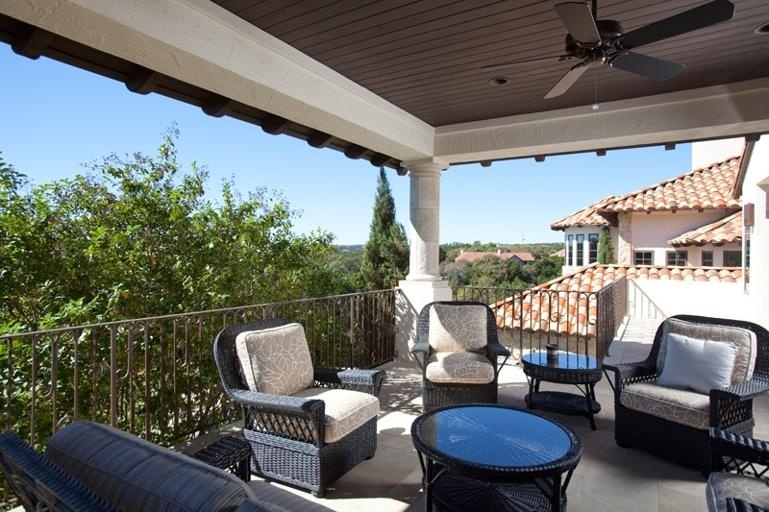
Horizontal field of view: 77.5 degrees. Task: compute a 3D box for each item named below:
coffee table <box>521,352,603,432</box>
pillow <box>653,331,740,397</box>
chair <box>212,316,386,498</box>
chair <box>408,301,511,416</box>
[{"bbox_3d":[1.915,1.353,5.106,0.844,0.563,0.794,-2,-8,37],"label":"coffee table"},{"bbox_3d":[2.894,0.996,4.383,0.567,0.513,0.209,0,-29,48],"label":"pillow"},{"bbox_3d":[-0.816,1.203,4.498,1.451,1.352,1.419,-1,-1,31],"label":"chair"},{"bbox_3d":[0.804,1.071,5.257,1.009,1.132,0.828,0,-4,3],"label":"chair"}]
